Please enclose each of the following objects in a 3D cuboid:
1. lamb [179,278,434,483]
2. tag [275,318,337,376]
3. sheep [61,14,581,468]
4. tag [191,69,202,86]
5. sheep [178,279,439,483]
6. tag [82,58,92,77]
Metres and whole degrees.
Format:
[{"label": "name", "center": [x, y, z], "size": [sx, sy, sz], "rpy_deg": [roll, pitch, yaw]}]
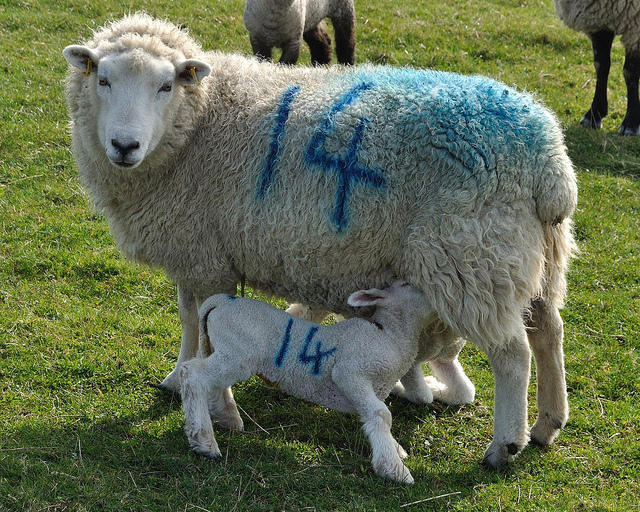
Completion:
[{"label": "lamb", "center": [0.036, 0.700, 7.233], "size": [1.983, 1.756, 0.751], "rpy_deg": [8, 7, -1]}, {"label": "tag", "center": [-0.105, 0.677, 6.985], "size": [0.347, 0.378, 0.110], "rpy_deg": [15, -8, 11]}, {"label": "sheep", "center": [-0.018, -0.016, 7.746], "size": [3.913, 3.348, 1.678], "rpy_deg": [6, 8, 18]}, {"label": "tag", "center": [-0.946, -1.354, 7.092], "size": [0.036, 0.150, 0.027], "rpy_deg": [-14, 12, -13]}, {"label": "sheep", "center": [-0.090, 0.819, 6.958], "size": [1.801, 1.245, 0.712], "rpy_deg": [5, 19, 4]}, {"label": "tag", "center": [-1.752, -1.426, 7.100], "size": [0.087, 0.114, 0.041], "rpy_deg": [5, -4, 32]}]
